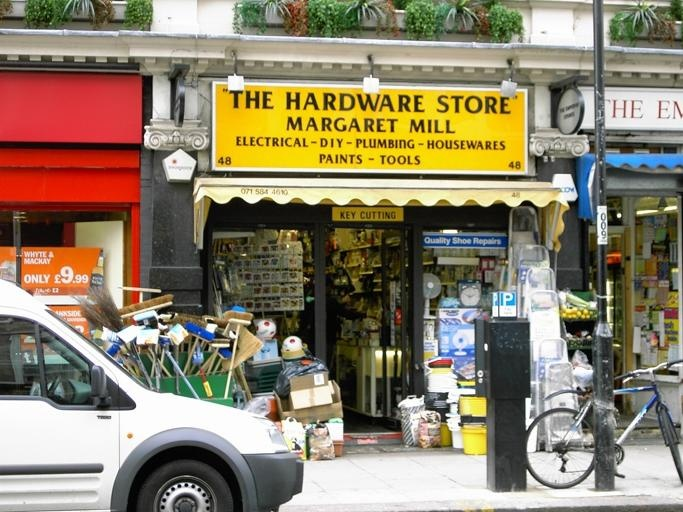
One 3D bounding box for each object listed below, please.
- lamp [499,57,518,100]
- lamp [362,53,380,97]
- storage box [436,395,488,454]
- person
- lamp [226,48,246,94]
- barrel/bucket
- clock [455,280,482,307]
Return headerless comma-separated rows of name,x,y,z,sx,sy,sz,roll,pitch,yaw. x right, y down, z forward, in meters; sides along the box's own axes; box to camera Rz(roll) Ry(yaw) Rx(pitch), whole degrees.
lamp,2.388,-2.456,16.717,0.235,0.490,0.235,11,-2,3
lamp,0.425,-2.555,16.754,0.226,0.556,0.307,0,-2,2
storage box,1.738,2.313,16.348,0.382,0.793,0.745,1,-3,-17
person,-0.152,1.072,17.855,0.884,1.432,0.843,-4,4,-3
lamp,-1.464,-2.550,16.384,0.242,0.596,0.438,0,-2,-6
barrel/bucket,1.657,2.116,16.474,0.753,1.148,1.169,1,-17,-3
clock,1.908,0.560,17.522,0.347,0.374,0.079,1,-3,-19
